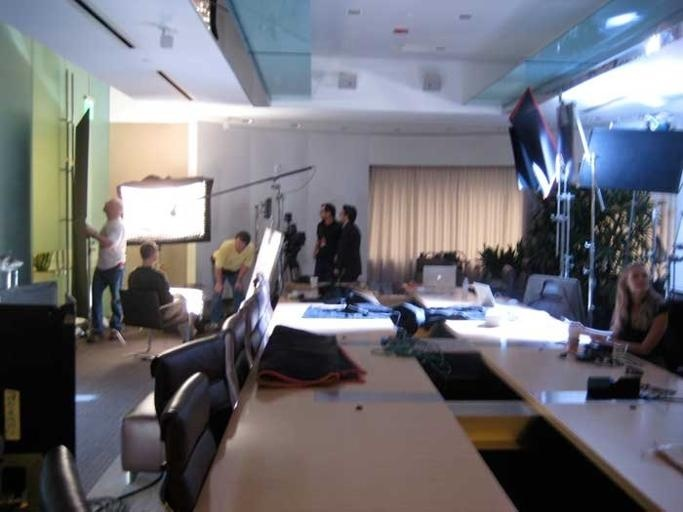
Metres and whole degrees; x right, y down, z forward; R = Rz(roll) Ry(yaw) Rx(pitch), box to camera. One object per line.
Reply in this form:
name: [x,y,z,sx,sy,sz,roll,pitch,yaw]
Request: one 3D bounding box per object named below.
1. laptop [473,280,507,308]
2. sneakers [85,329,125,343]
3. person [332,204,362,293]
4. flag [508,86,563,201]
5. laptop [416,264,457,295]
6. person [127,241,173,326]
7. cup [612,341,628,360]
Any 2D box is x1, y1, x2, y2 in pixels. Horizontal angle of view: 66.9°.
laptop: [1.110,0.304,3.971,0.161,0.235,0.157,-25,5,-32]
sneakers: [-2.608,0.871,5.667,0.275,0.128,0.086,-13,10,-27]
person: [0.066,-0.141,5.816,0.285,0.857,0.453,-1,3,-1]
flag: [1.914,-1.148,5.061,0.202,0.939,0.842,-14,41,2]
laptop: [0.912,0.201,4.769,0.302,0.299,0.234,2,4,7]
person: [-1.908,0.254,5.164,0.466,0.833,0.418,6,14,11]
cup: [1.489,0.511,2.780,0.074,0.091,0.096,0,-7,5]
